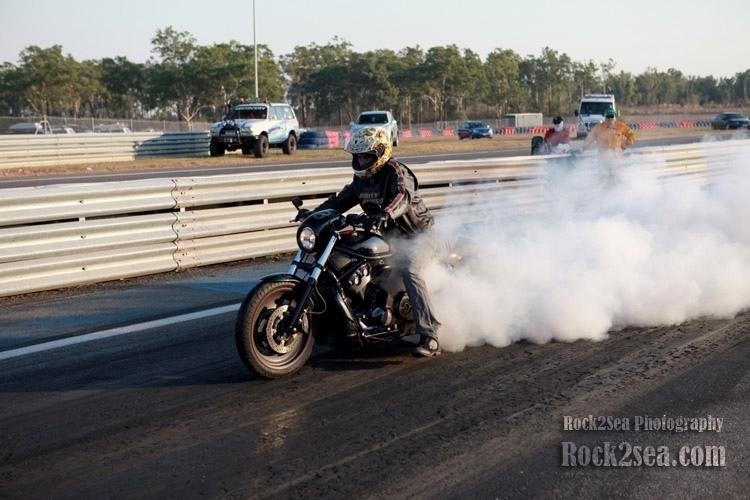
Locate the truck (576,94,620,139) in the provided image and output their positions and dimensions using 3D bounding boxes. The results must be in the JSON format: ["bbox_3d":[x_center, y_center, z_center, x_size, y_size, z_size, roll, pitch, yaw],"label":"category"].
[{"bbox_3d":[14.733,-8.635,40.292,2.615,3.330,5.523,4,10,19],"label":"truck"}]

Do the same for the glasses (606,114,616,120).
[{"bbox_3d":[4.857,-2.736,12.512,0.192,0.097,0.138,-2,15,-4],"label":"glasses"}]

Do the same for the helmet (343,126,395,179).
[{"bbox_3d":[-0.048,-0.977,6.049,0.478,0.490,0.396,-14,21,-30],"label":"helmet"}]

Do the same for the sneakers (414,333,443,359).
[{"bbox_3d":[0.502,0.938,5.924,0.165,0.101,0.240,-16,-25,35],"label":"sneakers"}]

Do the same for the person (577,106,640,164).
[{"bbox_3d":[4.839,-2.018,12.543,1.007,1.830,0.479,-1,-19,21],"label":"person"}]

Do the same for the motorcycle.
[{"bbox_3d":[-0.039,0.238,6.033,2.793,1.683,0.880,-8,9,-35],"label":"motorcycle"}]

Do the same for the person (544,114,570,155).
[{"bbox_3d":[4.273,-2.670,14.159,0.574,0.833,0.813,2,15,8],"label":"person"}]

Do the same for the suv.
[{"bbox_3d":[-5.759,-6.045,30.363,2.291,2.305,4.440,0,2,27],"label":"suv"}]

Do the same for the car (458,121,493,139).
[{"bbox_3d":[8.617,-10.202,52.375,2.804,1.417,1.140,4,15,15],"label":"car"}]
